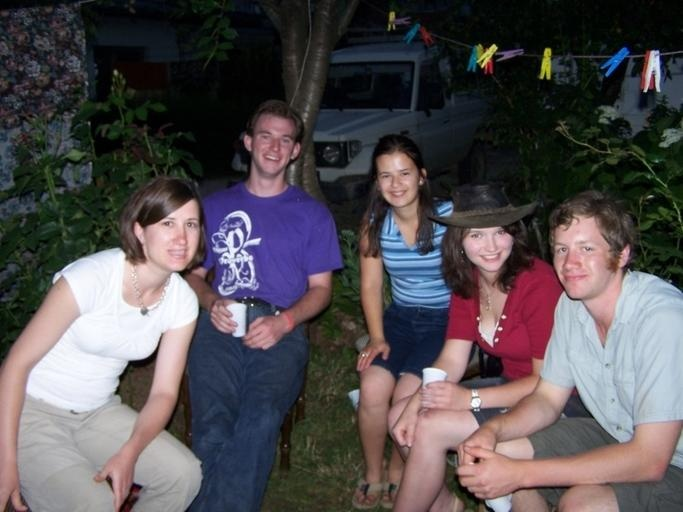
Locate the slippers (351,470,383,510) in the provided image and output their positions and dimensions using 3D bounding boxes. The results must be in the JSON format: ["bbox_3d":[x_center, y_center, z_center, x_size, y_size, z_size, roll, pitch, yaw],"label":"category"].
[{"bbox_3d":[0.167,1.553,3.454,0.208,0.184,0.135,-1,12,6],"label":"slippers"}]

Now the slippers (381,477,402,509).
[{"bbox_3d":[0.324,1.540,3.431,0.114,0.280,0.103,-1,-22,17],"label":"slippers"}]

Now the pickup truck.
[{"bbox_3d":[0.726,-2.282,8.694,2.410,2.395,4.242,11,26,32],"label":"pickup truck"}]

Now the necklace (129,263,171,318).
[{"bbox_3d":[-1.054,0.176,2.822,0.185,0.246,0.067,8,-13,-22],"label":"necklace"}]

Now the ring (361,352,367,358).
[{"bbox_3d":[0.143,0.644,3.445,0.028,0.027,0.010,-5,-17,26],"label":"ring"}]

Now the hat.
[{"bbox_3d":[0.909,-0.330,3.419,0.749,0.241,0.761,-3,-6,-19],"label":"hat"}]

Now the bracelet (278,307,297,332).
[{"bbox_3d":[-0.353,0.425,3.499,0.124,0.091,0.124,7,18,15],"label":"bracelet"}]

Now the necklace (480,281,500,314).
[{"bbox_3d":[0.896,0.266,3.220,0.097,0.159,0.043,-13,-1,32],"label":"necklace"}]

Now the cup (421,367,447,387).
[{"bbox_3d":[0.518,0.682,2.991,0.109,0.079,0.110,7,-21,3],"label":"cup"}]

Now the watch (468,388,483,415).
[{"bbox_3d":[0.737,0.805,2.915,0.063,0.094,0.097,-1,-7,-2],"label":"watch"}]
